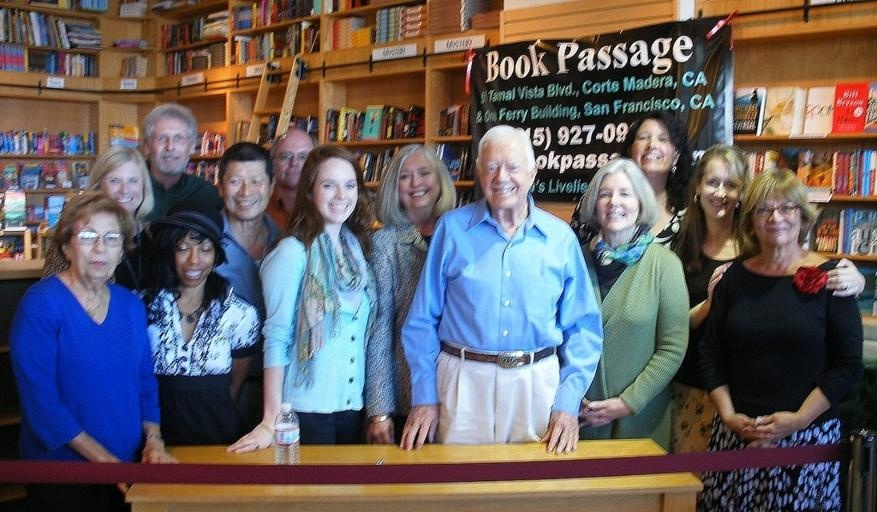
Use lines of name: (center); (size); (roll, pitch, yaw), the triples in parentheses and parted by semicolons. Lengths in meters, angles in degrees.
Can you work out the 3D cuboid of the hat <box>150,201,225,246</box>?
hat: (-1.449, -0.230, 3.891); (0.371, 0.149, 0.413); (5, -17, -6)
